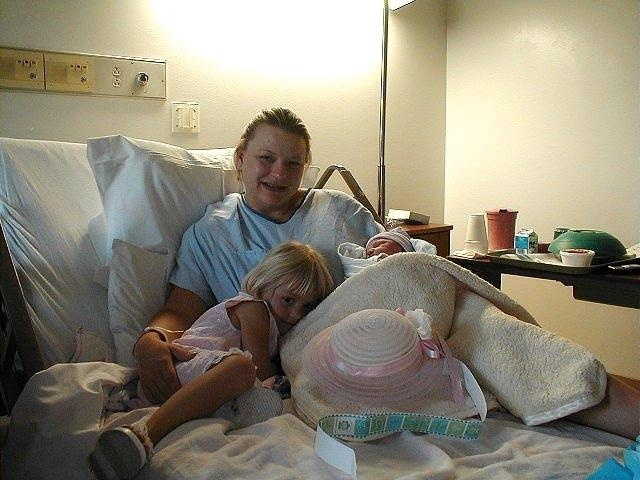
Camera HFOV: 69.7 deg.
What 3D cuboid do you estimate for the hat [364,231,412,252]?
[{"bbox_3d":[0.242,-0.010,1.662,0.110,0.068,0.093,-10,1,18],"label":"hat"}]

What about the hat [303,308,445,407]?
[{"bbox_3d":[0.145,0.285,1.113,0.249,0.100,0.245,-5,30,-3],"label":"hat"}]

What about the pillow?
[{"bbox_3d":[-0.550,-0.014,1.532,0.574,0.645,0.160,2,-1,-44],"label":"pillow"}]

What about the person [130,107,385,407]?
[{"bbox_3d":[-0.235,0.048,1.491,0.991,0.686,0.532,-11,1,-21],"label":"person"}]

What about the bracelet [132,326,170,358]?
[{"bbox_3d":[-0.465,0.267,1.280,0.085,0.086,0.065,25,5,-18],"label":"bracelet"}]

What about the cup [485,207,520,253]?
[{"bbox_3d":[0.764,-0.041,1.937,0.171,0.220,0.162,0,-3,0],"label":"cup"}]
